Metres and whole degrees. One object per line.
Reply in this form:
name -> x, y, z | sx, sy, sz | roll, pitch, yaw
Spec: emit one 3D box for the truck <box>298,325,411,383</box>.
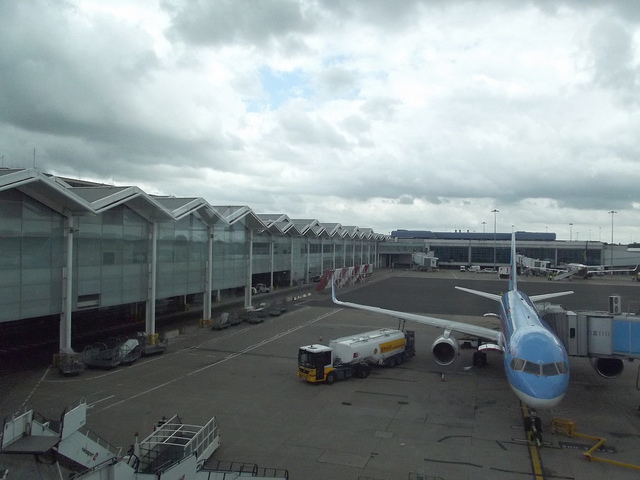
truck -> 3.437, 10.414, 43.094 | 10.860, 3.380, 3.814 | -3, 0, -36
